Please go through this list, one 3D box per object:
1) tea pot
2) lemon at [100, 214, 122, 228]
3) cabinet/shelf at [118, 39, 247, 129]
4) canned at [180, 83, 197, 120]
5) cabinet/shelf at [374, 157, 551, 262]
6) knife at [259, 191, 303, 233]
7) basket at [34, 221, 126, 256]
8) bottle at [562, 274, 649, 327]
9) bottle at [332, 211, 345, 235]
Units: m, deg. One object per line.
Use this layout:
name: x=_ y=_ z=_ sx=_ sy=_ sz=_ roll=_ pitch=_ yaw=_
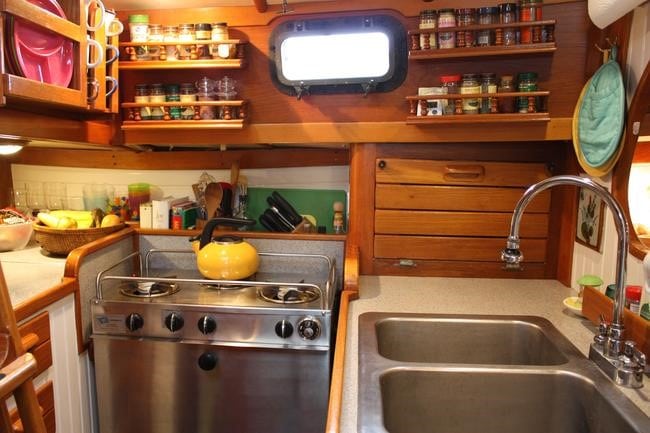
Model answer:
tea pot: x=-0.483 y=0.144 z=2.360 sx=0.323 sy=0.263 sz=0.312 roll=2 pitch=16 yaw=-1
lemon: x=-1.109 y=0.021 z=2.440 sx=0.071 sy=0.044 sz=0.084 roll=0 pitch=8 yaw=-18
cabinet/shelf: x=-0.690 y=-0.669 z=2.375 sx=0.518 sy=0.304 sz=0.183 roll=1 pitch=13 yaw=2
canned: x=-0.705 y=-0.579 z=2.399 sx=0.122 sy=0.172 sz=0.114 roll=-6 pitch=28 yaw=-24
cabinet/shelf: x=0.615 y=-0.028 z=2.436 sx=1.003 sy=0.528 sz=0.547 roll=1 pitch=2 yaw=5
knife: x=-0.257 y=-0.036 z=2.618 sx=0.196 sy=0.245 sz=0.083 roll=-43 pitch=-5 yaw=20
basket: x=-1.262 y=0.102 z=2.374 sx=0.243 sy=0.076 sz=0.227 roll=0 pitch=9 yaw=4
bottle: x=1.118 y=0.339 z=1.926 sx=0.216 sy=0.083 sz=0.192 roll=5 pitch=11 yaw=38
bottle: x=0.075 y=0.029 z=2.638 sx=0.073 sy=0.120 sz=0.189 roll=3 pitch=2 yaw=1
